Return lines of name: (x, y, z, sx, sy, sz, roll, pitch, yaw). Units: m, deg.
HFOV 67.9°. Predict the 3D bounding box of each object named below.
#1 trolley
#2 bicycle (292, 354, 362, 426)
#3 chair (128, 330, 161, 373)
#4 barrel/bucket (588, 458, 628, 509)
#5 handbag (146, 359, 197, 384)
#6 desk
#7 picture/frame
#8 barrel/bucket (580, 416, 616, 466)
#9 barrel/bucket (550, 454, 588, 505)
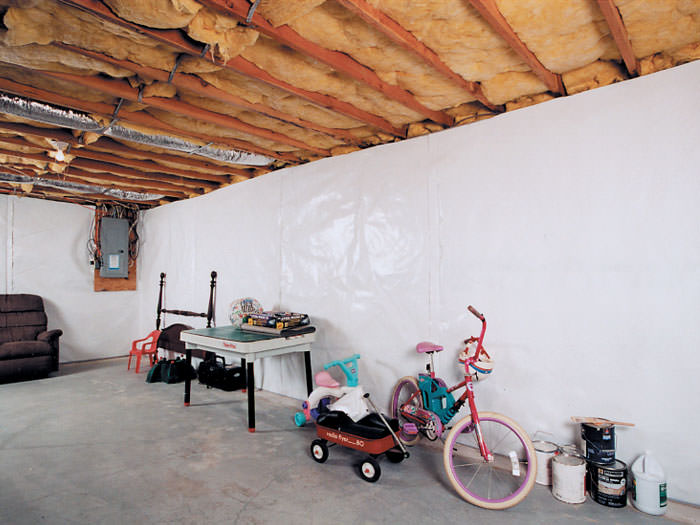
trolley: (0.042, 1.391, 4.341, 0.866, 0.651, 0.436, 6, 11, 36)
bicycle: (-0.197, 1.195, 4.847, 0.470, 0.603, 0.461, 25, -32, -22)
chair: (-2.951, 1.304, 7.486, 0.533, 0.624, 0.502, -5, -10, 35)
barrel/bucket: (1.850, 1.637, 3.859, 0.327, 0.283, 0.293, 10, -13, -41)
handbag: (-2.226, 1.381, 6.512, 0.491, 0.314, 0.494, 1, -3, 38)
desk: (-1.066, 1.114, 5.443, 1.199, 0.769, 0.926, 0, 3, 39)
picture/frame: (-3.779, -0.232, 8.365, 0.311, 1.432, 0.758, 8, 13, 40)
barrel/bucket: (1.778, 1.359, 3.942, 0.317, 0.281, 0.289, 0, -6, 0)
barrel/bucket: (1.578, 1.618, 3.903, 0.315, 0.306, 0.297, 2, -3, 0)
